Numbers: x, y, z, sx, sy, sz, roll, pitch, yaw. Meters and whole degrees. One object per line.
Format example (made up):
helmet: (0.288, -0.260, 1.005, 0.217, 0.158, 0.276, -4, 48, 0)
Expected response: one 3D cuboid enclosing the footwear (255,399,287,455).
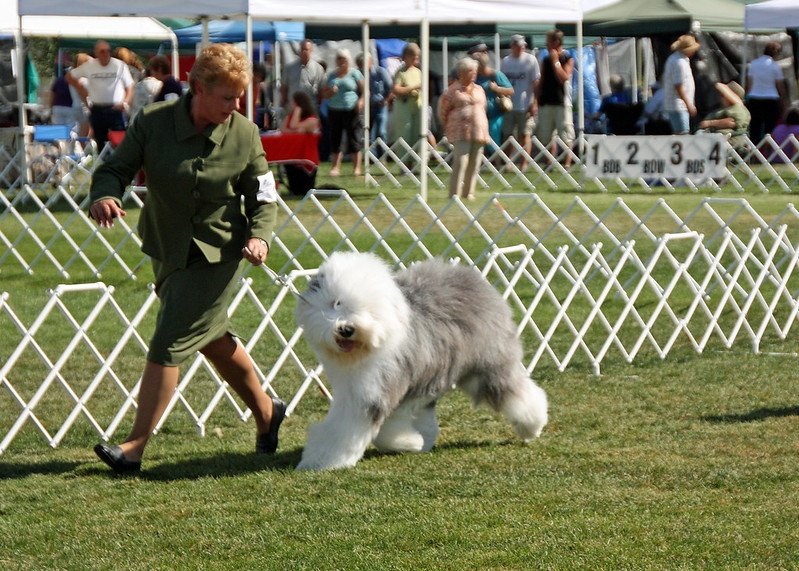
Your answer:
footwear: (-0.858, 0.940, 8.744, 0.142, 0.416, 0.124, 17, 18, 37)
